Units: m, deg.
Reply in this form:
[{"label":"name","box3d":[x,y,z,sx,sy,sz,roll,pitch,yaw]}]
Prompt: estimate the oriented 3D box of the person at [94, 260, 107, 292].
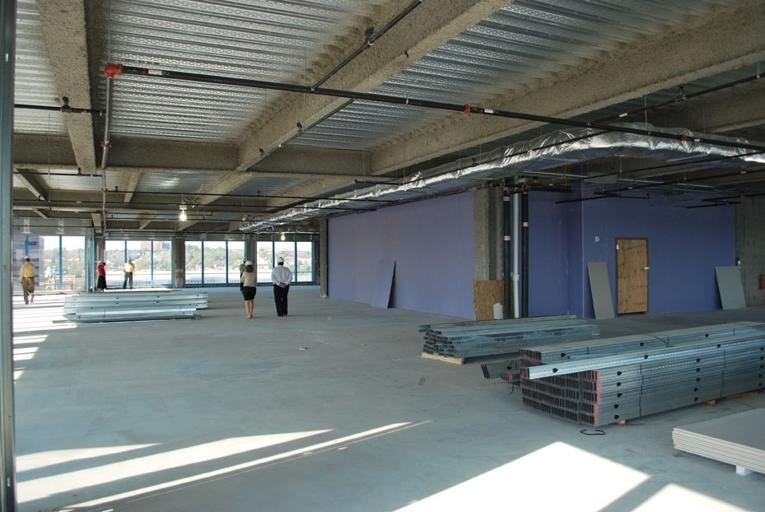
[{"label":"person","box3d":[-13.603,1.040,24.834,0.306,1.346,0.918,-4,9,-21]}]
